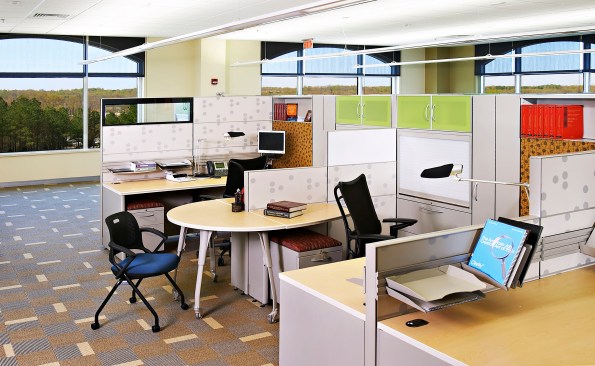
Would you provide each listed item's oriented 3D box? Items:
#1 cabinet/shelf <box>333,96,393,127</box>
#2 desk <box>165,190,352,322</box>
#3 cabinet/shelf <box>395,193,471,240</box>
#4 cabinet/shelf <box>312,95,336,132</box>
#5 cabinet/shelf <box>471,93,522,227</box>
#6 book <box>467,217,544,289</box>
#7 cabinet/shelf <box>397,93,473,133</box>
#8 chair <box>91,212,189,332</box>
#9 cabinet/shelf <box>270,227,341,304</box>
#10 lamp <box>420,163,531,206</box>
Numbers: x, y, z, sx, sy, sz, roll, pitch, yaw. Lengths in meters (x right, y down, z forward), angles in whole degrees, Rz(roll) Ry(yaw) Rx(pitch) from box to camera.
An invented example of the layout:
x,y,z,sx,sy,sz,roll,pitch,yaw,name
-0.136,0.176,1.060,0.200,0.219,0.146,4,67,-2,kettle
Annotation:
x,y,z,sx,sy,sz,roll,pitch,yaw,name
1.218,-1.270,6.875,0.434,0.501,1.250,-14,18,-37,cabinet/shelf
-0.795,0.559,5.243,2.075,0.912,1.606,-3,6,-41,desk
1.824,0.404,5.323,0.305,0.597,0.781,-1,3,-42,cabinet/shelf
0.469,-1.288,7.207,0.421,0.592,0.225,1,15,3,cabinet/shelf
2.576,-0.605,5.273,0.556,1.273,0.155,5,-17,10,cabinet/shelf
1.482,0.497,2.857,0.131,0.504,0.516,12,12,-46,book
2.095,-1.077,5.921,0.517,0.504,1.245,-17,20,-35,cabinet/shelf
-1.944,1.049,4.945,1.016,1.173,1.061,5,6,23,chair
0.176,0.933,5.020,0.657,0.572,0.870,-3,5,-34,cabinet/shelf
1.506,-0.006,3.436,0.878,0.271,0.175,9,18,39,lamp
